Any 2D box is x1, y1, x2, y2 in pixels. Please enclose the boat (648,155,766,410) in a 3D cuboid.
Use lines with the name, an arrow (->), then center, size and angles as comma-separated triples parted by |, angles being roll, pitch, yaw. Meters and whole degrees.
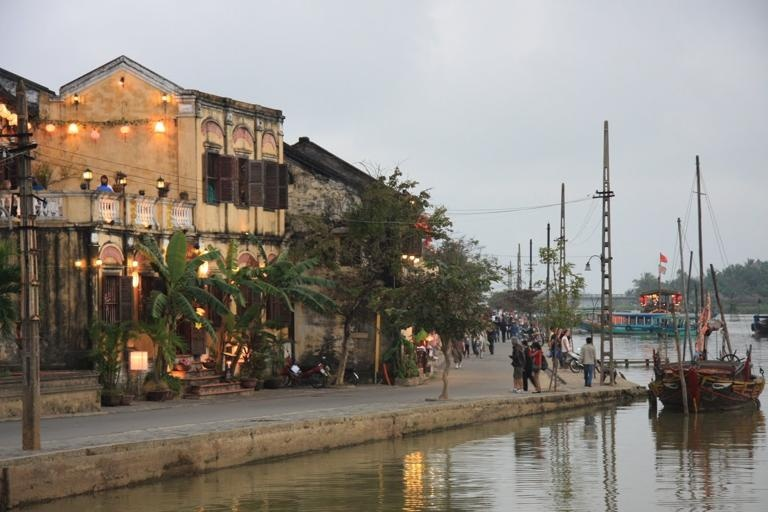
boat -> 15.533, 1.087, 68.568 | 4.841, 12.364, 18.592 | 5, 10, 12

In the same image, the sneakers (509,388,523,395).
sneakers -> 5.620, 5.788, 61.854 | 0.566, 0.289, 0.199 | 4, 0, 11
